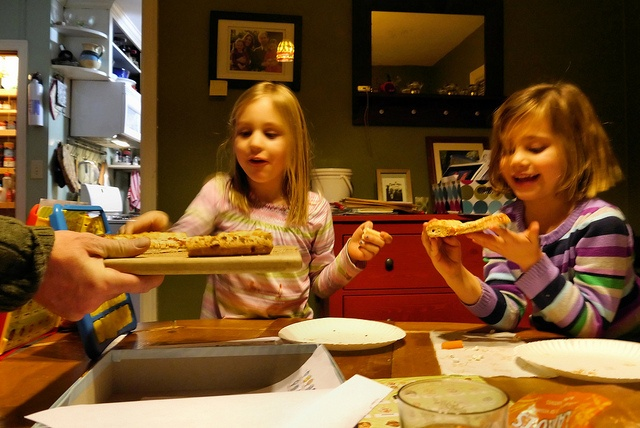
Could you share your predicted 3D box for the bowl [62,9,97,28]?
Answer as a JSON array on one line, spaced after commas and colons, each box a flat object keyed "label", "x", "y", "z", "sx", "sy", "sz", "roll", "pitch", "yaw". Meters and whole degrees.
[{"label": "bowl", "x": -2.700, "y": -2.210, "z": 5.112, "sx": 0.312, "sy": 0.158, "sz": 0.316, "roll": 1, "pitch": 5, "yaw": 0}]

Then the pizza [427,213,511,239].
[{"label": "pizza", "x": 0.451, "y": 0.037, "z": 1.403, "sx": 0.160, "sy": 0.041, "sz": 0.116, "roll": -7, "pitch": 0, "yaw": 1}]

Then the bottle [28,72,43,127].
[{"label": "bottle", "x": -2.845, "y": -1.148, "z": 4.545, "sx": 0.146, "sy": 0.522, "sz": 0.125, "roll": -4, "pitch": 7, "yaw": -30}]

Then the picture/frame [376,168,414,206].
[{"label": "picture/frame", "x": 0.477, "y": -0.172, "z": 2.928, "sx": 0.263, "sy": 0.289, "sz": 0.020, "roll": -1, "pitch": -7, "yaw": -9}]

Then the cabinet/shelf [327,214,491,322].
[{"label": "cabinet/shelf", "x": 0.455, "y": 0.358, "z": 2.673, "sx": 0.843, "sy": 0.744, "sz": 0.374, "roll": -2, "pitch": 15, "yaw": -9}]

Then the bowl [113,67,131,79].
[{"label": "bowl", "x": -2.532, "y": -1.797, "z": 5.806, "sx": 0.274, "sy": 0.103, "sz": 0.260, "roll": 1, "pitch": 10, "yaw": 0}]

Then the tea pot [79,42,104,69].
[{"label": "tea pot", "x": -2.531, "y": -1.748, "z": 5.062, "sx": 0.242, "sy": 0.247, "sz": 0.204, "roll": -1, "pitch": 13, "yaw": -31}]

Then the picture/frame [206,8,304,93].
[{"label": "picture/frame", "x": -0.430, "y": -1.013, "z": 2.817, "sx": 0.834, "sy": 0.655, "sz": 0.066, "roll": 1, "pitch": -3, "yaw": -6}]

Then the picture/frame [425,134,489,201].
[{"label": "picture/frame", "x": 0.834, "y": -0.276, "z": 2.824, "sx": 0.482, "sy": 0.454, "sz": 0.033, "roll": -1, "pitch": -17, "yaw": -6}]

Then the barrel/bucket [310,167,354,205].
[{"label": "barrel/bucket", "x": 0.082, "y": -0.164, "z": 2.791, "sx": 0.215, "sy": 0.162, "sz": 0.222, "roll": 1, "pitch": -1, "yaw": 0}]
